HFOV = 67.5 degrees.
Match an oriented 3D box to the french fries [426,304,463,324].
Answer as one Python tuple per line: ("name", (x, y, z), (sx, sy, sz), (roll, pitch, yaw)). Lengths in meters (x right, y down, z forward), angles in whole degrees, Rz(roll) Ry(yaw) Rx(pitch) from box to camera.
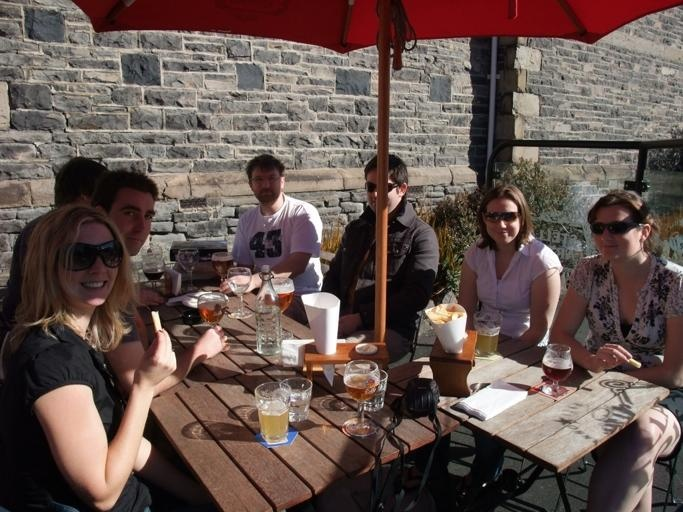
("french fries", (0.483, 0.268, 2.345), (0.173, 0.069, 0.192), (-7, 10, 2))

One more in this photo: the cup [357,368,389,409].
("cup", (0.143, 0.584, 2.303), (0.142, 0.166, 0.149), (0, 15, 0))

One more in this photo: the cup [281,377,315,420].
("cup", (-0.182, 0.622, 2.208), (0.150, 0.172, 0.159), (0, 13, 0))

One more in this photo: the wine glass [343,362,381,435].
("wine glass", (0.086, 0.591, 2.184), (0.157, 0.253, 0.286), (0, 9, 4))

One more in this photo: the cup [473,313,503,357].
("cup", (0.772, 0.421, 2.739), (0.175, 0.223, 0.210), (-3, 4, -12))

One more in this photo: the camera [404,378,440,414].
("camera", (0.363, 0.630, 2.271), (0.152, 0.170, 0.194), (-4, -30, 14))

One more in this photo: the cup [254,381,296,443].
("cup", (-0.280, 0.641, 2.093), (0.132, 0.202, 0.183), (-2, 10, -9))
